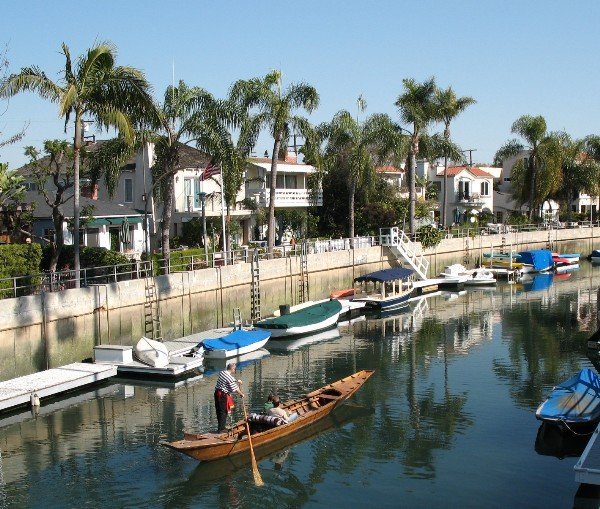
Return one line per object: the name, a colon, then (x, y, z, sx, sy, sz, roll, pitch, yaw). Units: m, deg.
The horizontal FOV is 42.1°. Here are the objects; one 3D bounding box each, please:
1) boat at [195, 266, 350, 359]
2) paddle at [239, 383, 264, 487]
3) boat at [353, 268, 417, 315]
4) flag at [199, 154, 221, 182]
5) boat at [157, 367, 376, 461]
boat: (-1.350, 4.313, 44.238, 2.024, 1.332, 12.136, 5, 10, 34)
paddle: (-1.809, 6.627, 28.567, 0.270, 3.059, 0.117, -15, -15, 5)
boat: (6.228, 2.520, 55.219, 2.170, 2.023, 5.281, -1, 2, 23)
flag: (-5.555, -5.186, 48.298, 1.108, 1.374, 3.401, -2, 8, -13)
boat: (-0.867, 6.346, 29.131, 4.602, 2.336, 6.674, -3, -4, 20)
